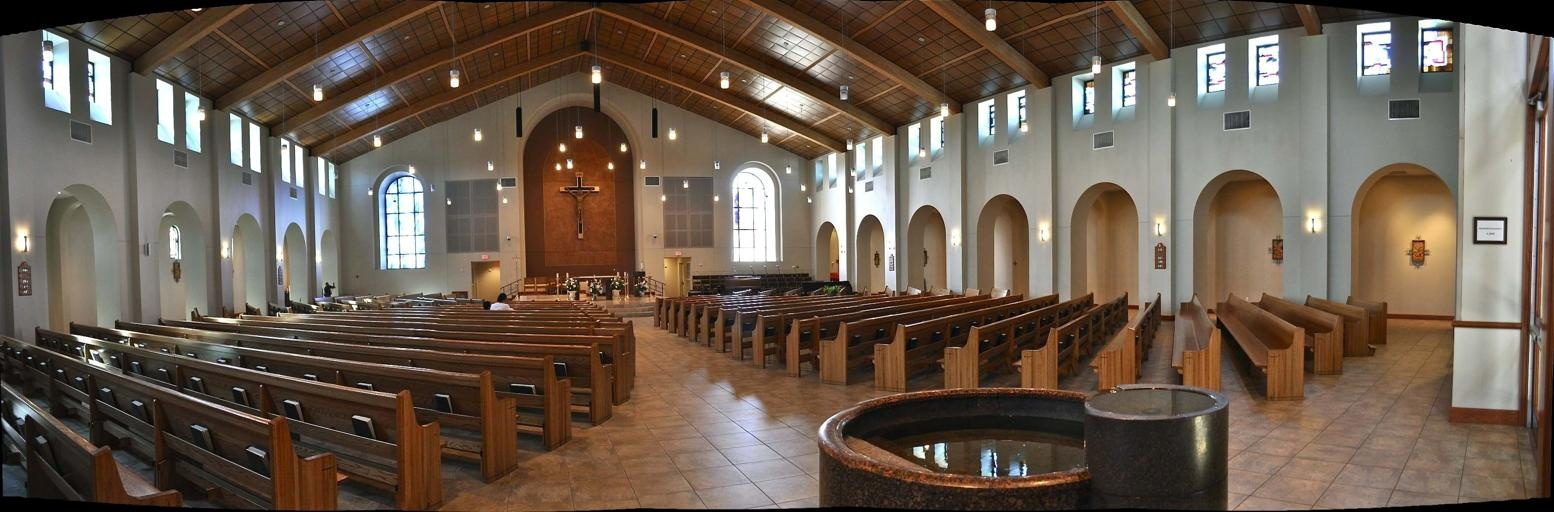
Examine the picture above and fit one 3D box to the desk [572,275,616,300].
[{"bbox_3d":[-10.393,1.786,44.682,2.191,0.846,1.987,0,0,33],"label":"desk"}]
